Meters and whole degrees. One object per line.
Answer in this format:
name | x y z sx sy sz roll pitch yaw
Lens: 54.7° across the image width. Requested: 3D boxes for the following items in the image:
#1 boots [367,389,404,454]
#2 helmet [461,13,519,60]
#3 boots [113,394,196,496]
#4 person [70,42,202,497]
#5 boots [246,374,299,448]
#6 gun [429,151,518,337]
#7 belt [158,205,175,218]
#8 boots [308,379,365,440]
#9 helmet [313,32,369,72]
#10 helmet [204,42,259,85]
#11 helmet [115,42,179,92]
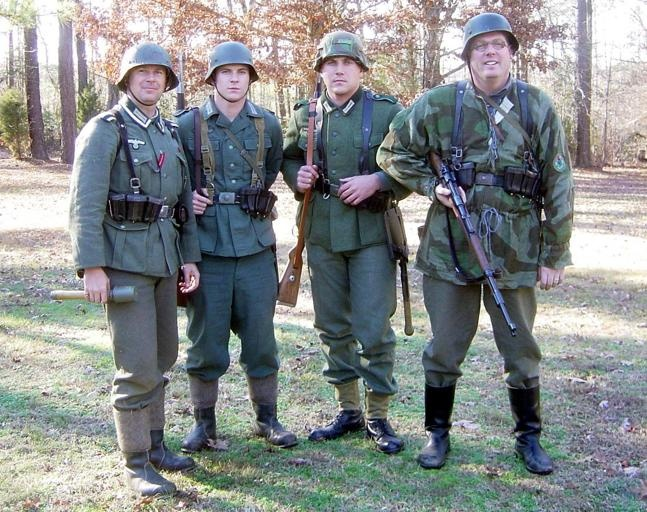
boots | 0.465 1.294 4.900 0.223 0.476 0.641 1 -3 -8
helmet | 1.134 -1.576 4.459 0.301 0.209 0.343 -1 11 -1
boots | -1.231 1.285 4.428 0.517 0.739 0.598 0 6 9
person | -1.212 0.047 4.249 0.708 2.911 0.877 6 13 22
boots | -0.398 1.223 4.935 0.218 0.539 0.623 -3 1 -38
gun | 1.074 -0.119 4.429 0.104 1.349 0.289 -12 -10 -21
belt | -1.080 -0.307 4.281 0.086 0.054 0.086 0 1 -9
boots | 0.050 1.257 5.068 0.579 0.565 0.256 -2 -4 -18
helmet | 0.121 -1.577 4.876 0.423 0.276 0.422 -1 3 0
helmet | -0.681 -1.438 4.612 0.294 0.215 0.337 -2 3 -19
helmet | -1.208 -1.357 4.268 0.350 0.258 0.391 -5 9 -5
